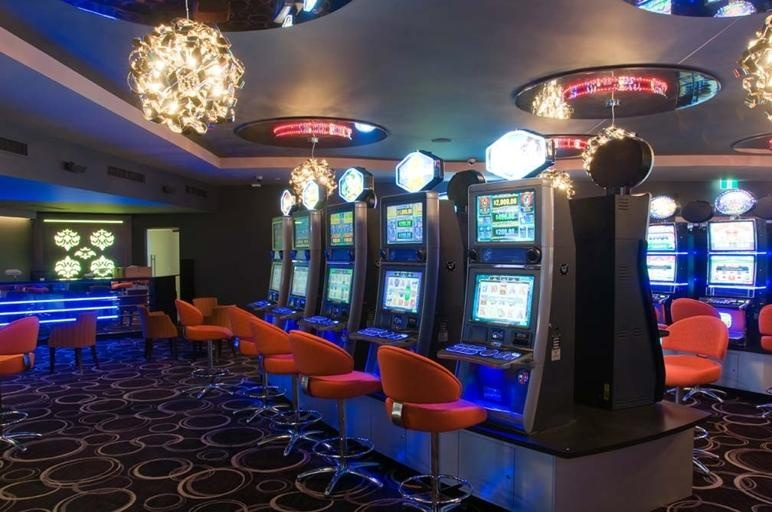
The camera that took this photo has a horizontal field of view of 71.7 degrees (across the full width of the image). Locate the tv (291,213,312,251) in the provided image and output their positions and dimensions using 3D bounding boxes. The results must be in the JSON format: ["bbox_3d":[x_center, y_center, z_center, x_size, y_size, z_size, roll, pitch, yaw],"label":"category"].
[{"bbox_3d":[-1.201,-0.354,7.721,0.300,0.503,0.538,2,-7,-16],"label":"tv"}]

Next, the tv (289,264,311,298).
[{"bbox_3d":[-1.224,0.356,7.672,0.181,0.466,0.450,10,-10,-27],"label":"tv"}]

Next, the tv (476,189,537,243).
[{"bbox_3d":[1.165,-0.384,5.087,0.572,0.399,0.081,-1,-2,37],"label":"tv"}]

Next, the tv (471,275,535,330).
[{"bbox_3d":[1.135,0.444,5.089,0.558,0.452,0.061,0,-7,41],"label":"tv"}]

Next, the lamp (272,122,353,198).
[{"bbox_3d":[-1.237,-1.564,9.328,1.450,1.428,1.360,1,0,5],"label":"lamp"}]

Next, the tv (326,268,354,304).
[{"bbox_3d":[-0.575,0.388,6.848,0.050,0.429,0.471,5,-6,-35],"label":"tv"}]

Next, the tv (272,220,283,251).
[{"bbox_3d":[-1.745,-0.352,8.576,0.085,0.519,0.389,-1,-1,-21],"label":"tv"}]

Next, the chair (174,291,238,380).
[{"bbox_3d":[-3.037,1.335,8.951,0.804,1.254,2.269,-1,-1,-19],"label":"chair"}]

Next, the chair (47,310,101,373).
[{"bbox_3d":[-5.232,1.420,8.945,0.675,0.980,0.663,0,-1,-33],"label":"chair"}]

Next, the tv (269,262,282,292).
[{"bbox_3d":[-1.745,0.314,8.511,0.135,0.444,0.541,-1,-1,-24],"label":"tv"}]

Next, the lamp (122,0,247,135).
[{"bbox_3d":[-1.761,-1.596,4.765,0.942,0.876,0.559,-1,-1,-18],"label":"lamp"}]

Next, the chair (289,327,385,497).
[{"bbox_3d":[-0.502,1.544,5.657,0.917,1.610,0.959,-1,-1,-1],"label":"chair"}]

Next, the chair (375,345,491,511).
[{"bbox_3d":[0.448,1.570,4.920,0.923,1.595,0.825,-1,-1,9],"label":"chair"}]

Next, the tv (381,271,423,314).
[{"bbox_3d":[0.201,0.405,5.986,0.500,0.408,0.072,-3,-6,42],"label":"tv"}]
